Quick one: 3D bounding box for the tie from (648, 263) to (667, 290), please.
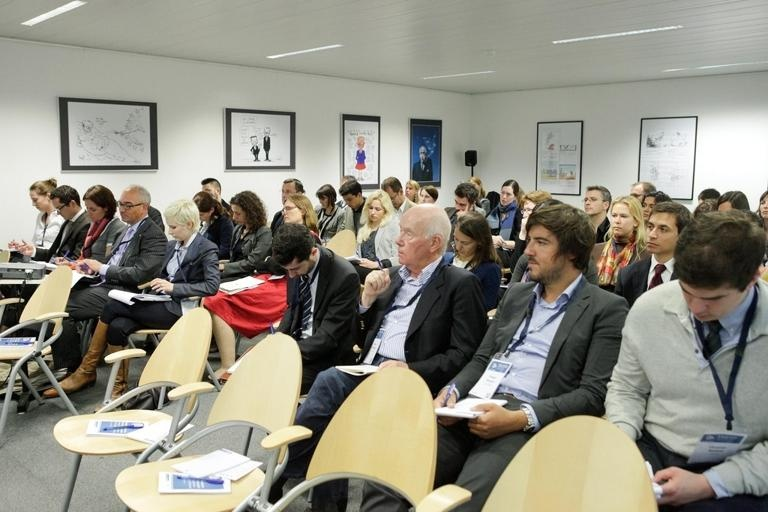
[{"bbox_3d":[1.729,0.131,3.288,0.048,0.168,0.046,9,-25,37],"label":"tie"}]

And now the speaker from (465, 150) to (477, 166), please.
[{"bbox_3d":[2.023,-2.275,12.085,0.279,0.421,0.216,7,16,27],"label":"speaker"}]

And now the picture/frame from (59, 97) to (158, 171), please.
[{"bbox_3d":[-3.893,-1.719,7.293,1.061,0.884,0.038,-6,10,-42],"label":"picture/frame"}]

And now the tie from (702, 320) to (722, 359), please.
[{"bbox_3d":[1.352,0.334,2.146,0.039,0.180,0.050,7,-8,11],"label":"tie"}]

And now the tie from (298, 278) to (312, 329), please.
[{"bbox_3d":[-0.530,0.328,3.574,0.080,0.380,0.028,2,8,6],"label":"tie"}]
